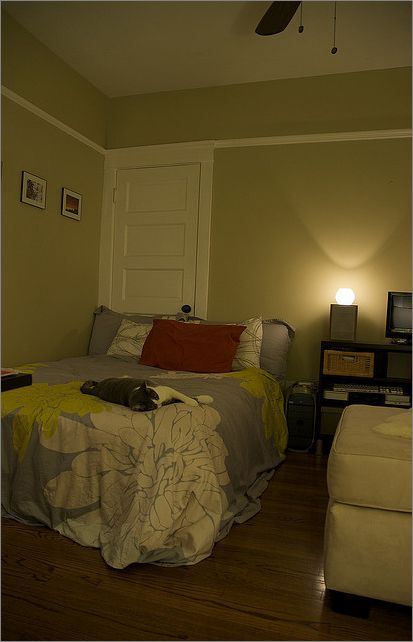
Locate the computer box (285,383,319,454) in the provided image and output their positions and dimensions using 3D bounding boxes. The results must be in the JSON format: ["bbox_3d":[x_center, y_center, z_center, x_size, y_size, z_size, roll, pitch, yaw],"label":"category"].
[{"bbox_3d":[0.665,0.690,3.269,0.260,0.423,0.274,1,3,-16],"label":"computer box"}]

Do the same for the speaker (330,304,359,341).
[{"bbox_3d":[0.939,0.011,3.124,0.169,0.251,0.092,2,-2,10],"label":"speaker"}]
